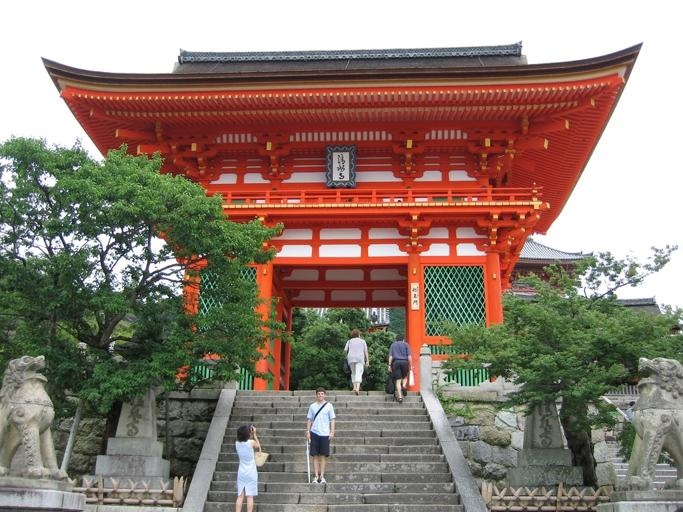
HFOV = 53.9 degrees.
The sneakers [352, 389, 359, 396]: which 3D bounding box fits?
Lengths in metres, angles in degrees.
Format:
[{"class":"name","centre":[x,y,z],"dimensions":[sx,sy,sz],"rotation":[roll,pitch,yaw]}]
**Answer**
[{"class":"sneakers","centre":[0.336,3.208,15.679],"dimensions":[0.151,0.128,0.106],"rotation":[4,-1,-43]}]

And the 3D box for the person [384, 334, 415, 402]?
[{"class":"person","centre":[1.336,2.605,15.340],"dimensions":[0.489,1.452,1.076],"rotation":[0,-25,6]}]
